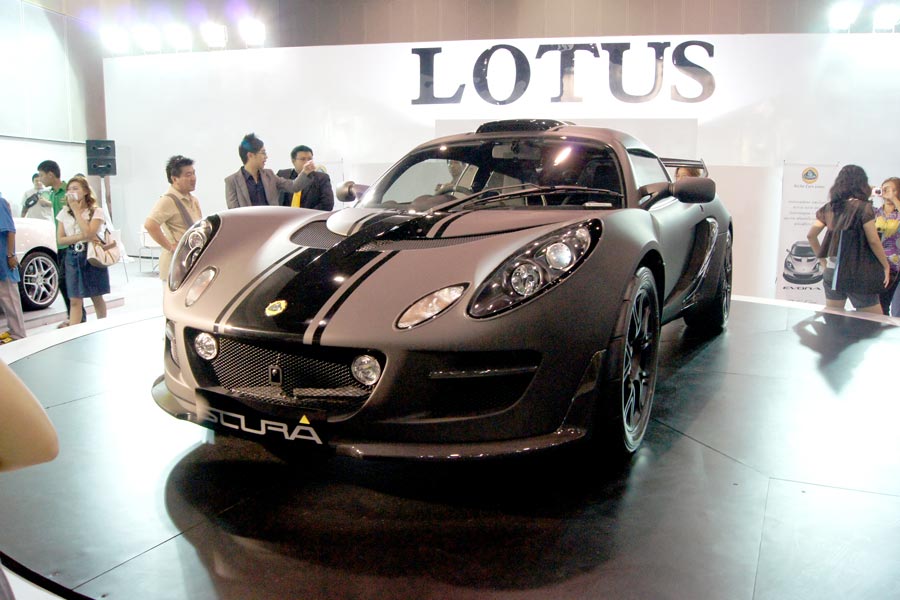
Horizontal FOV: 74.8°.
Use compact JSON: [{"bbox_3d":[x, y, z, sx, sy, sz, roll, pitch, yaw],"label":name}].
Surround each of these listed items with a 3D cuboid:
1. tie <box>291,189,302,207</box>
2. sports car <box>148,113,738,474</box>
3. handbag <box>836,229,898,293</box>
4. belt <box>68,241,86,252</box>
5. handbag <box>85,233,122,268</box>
[{"bbox_3d":[-1.562,-1.033,5.945,0.073,0.275,0.023,45,45,20],"label":"tie"},{"bbox_3d":[0.471,-0.300,3.558,1.749,1.214,3.276,2,5,32],"label":"sports car"},{"bbox_3d":[4.042,-0.360,5.710,0.462,0.634,0.342,4,34,40],"label":"handbag"},{"bbox_3d":[-3.863,-0.545,6.044,0.124,0.061,0.115,-2,6,-22],"label":"belt"},{"bbox_3d":[-3.621,-0.514,6.086,0.154,0.341,0.329,7,11,35],"label":"handbag"}]
